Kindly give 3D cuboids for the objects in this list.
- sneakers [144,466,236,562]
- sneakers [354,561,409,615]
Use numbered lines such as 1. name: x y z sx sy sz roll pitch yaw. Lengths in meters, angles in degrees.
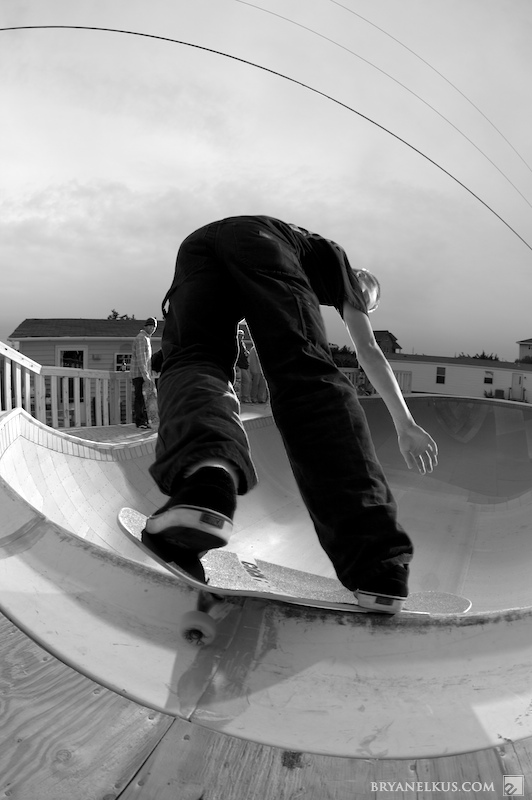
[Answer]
1. sneakers: -0.225 0.327 1.528 0.229 0.237 0.499 20 -25 -15
2. sneakers: 0.350 0.566 1.504 0.157 0.114 0.078 4 3 4
